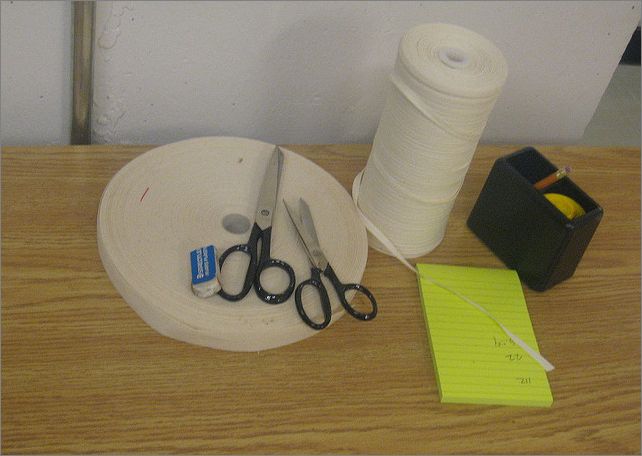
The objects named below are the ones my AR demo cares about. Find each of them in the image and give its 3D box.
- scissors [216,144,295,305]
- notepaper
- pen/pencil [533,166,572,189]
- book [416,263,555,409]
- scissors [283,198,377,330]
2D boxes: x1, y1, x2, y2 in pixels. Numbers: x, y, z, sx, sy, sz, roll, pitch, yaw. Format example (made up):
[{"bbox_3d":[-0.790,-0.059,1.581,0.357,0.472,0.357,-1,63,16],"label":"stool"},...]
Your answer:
[{"bbox_3d":[-0.082,-0.011,0.830,0.097,0.060,0.239,4,45,-10],"label":"scissors"},{"bbox_3d":[0.202,0.144,0.800,0.146,0.026,0.198,2,64,-10],"label":"notepaper"},{"bbox_3d":[0.309,-0.068,0.851,0.010,0.067,0.011,-20,79,-33],"label":"pen/pencil"},{"bbox_3d":[0.199,0.139,0.803,0.145,0.026,0.203,3,58,-11],"label":"book"},{"bbox_3d":[0.010,0.051,0.813,0.115,0.101,0.184,-6,45,-15],"label":"scissors"}]
